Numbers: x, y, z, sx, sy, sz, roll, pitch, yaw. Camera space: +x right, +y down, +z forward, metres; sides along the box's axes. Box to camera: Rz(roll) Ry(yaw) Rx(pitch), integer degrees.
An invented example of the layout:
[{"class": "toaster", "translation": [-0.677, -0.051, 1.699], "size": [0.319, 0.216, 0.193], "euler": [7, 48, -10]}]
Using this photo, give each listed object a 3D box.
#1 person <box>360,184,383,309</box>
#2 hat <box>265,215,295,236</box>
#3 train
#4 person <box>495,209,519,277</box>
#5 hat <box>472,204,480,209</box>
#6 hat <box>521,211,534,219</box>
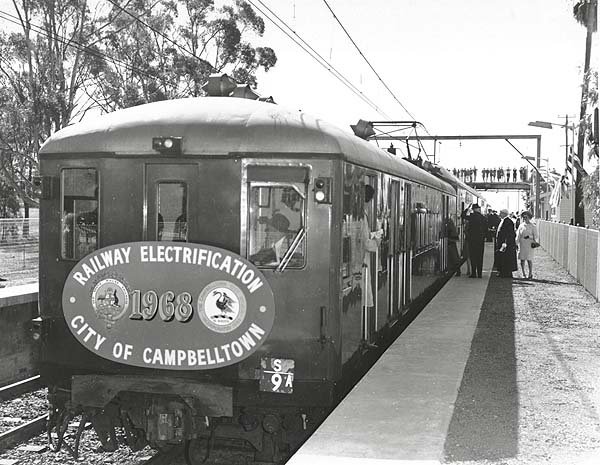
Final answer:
[{"class": "person", "translation": [0.857, 0.255, 7.013], "size": [0.313, 1.351, 0.183], "euler": [-12, 20, -24]}, {"class": "hat", "translation": [-0.181, -0.072, 5.483], "size": [0.192, 0.256, 0.163], "euler": [5, 0, 5]}, {"class": "train", "translation": [-0.356, 0.188, 6.606], "size": [2.519, 4.110, 4.236], "euler": [1, 3, 37]}, {"class": "person", "translation": [6.364, 0.360, 18.324], "size": [0.602, 2.099, 1.070], "euler": [0, 2, 18]}, {"class": "hat", "translation": [5.308, -0.768, 17.901], "size": [0.172, 0.210, 0.335], "euler": [-2, -3, 16]}, {"class": "hat", "translation": [6.844, -0.523, 17.852], "size": [0.404, 0.200, 0.605], "euler": [9, 7, 32]}]
